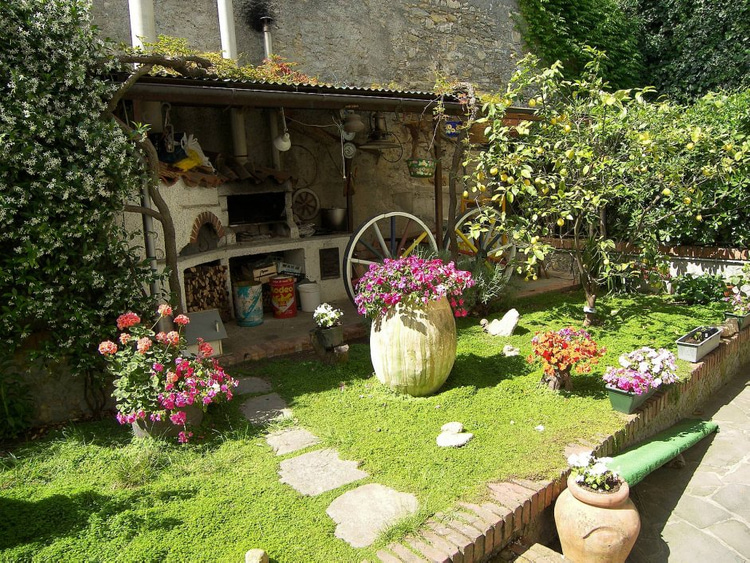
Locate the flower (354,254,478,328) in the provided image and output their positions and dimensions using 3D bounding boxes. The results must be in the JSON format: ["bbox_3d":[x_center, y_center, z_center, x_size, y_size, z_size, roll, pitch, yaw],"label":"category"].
[{"bbox_3d":[0.443,0.040,5.627,0.911,0.564,0.878,-10,-2,-39],"label":"flower"}]

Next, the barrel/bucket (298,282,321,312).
[{"bbox_3d":[-0.945,0.242,8.491,0.356,0.380,0.373,-1,11,0],"label":"barrel/bucket"}]

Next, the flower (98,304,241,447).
[{"bbox_3d":[-1.913,0.802,5.085,0.972,1.177,1.086,-13,13,-40],"label":"flower"}]

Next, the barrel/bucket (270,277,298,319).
[{"bbox_3d":[-1.297,0.220,8.156,0.342,0.606,0.258,-7,10,-13],"label":"barrel/bucket"}]

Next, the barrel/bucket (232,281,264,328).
[{"bbox_3d":[-1.745,0.315,7.850,0.382,0.596,0.310,-6,10,-10],"label":"barrel/bucket"}]

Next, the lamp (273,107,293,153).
[{"bbox_3d":[-1.376,-2.249,8.332,0.281,0.659,1.639,-6,10,-7],"label":"lamp"}]

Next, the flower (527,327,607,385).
[{"bbox_3d":[1.876,0.794,5.538,0.566,0.602,0.461,-8,11,-16],"label":"flower"}]

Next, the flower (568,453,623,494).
[{"bbox_3d":[1.656,1.401,4.310,0.280,0.116,0.298,-14,22,-30],"label":"flower"}]

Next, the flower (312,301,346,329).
[{"bbox_3d":[-0.541,0.409,6.535,0.291,0.242,0.297,6,4,44],"label":"flower"}]
